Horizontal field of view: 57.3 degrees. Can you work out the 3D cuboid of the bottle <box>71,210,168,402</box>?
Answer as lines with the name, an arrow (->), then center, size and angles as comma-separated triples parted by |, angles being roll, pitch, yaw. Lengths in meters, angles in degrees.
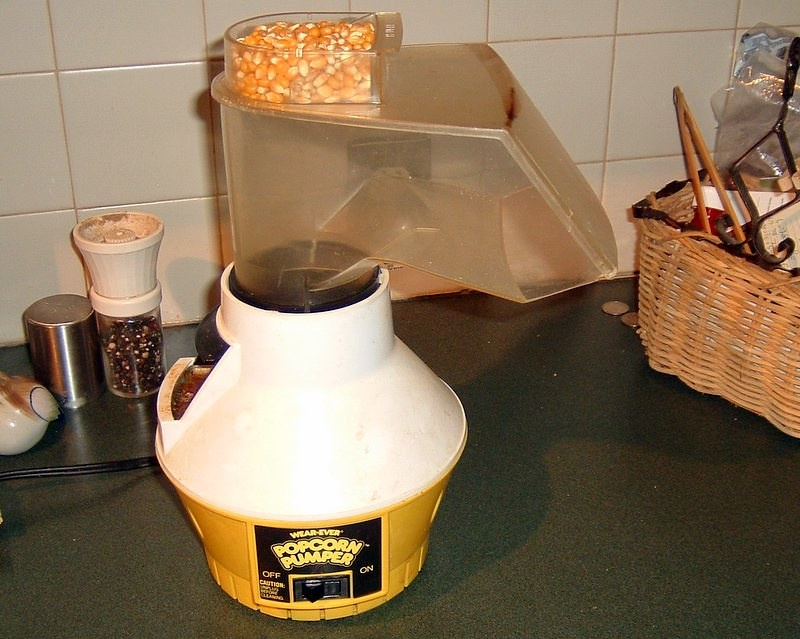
bottle -> -0.372, -0.014, 0.986 | 0.108, 0.224, 0.106 | 3, 22, -1

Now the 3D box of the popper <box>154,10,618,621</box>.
popper -> -0.020, 0.008, 0.721 | 0.441, 0.529, 0.285 | 0, 21, 1
